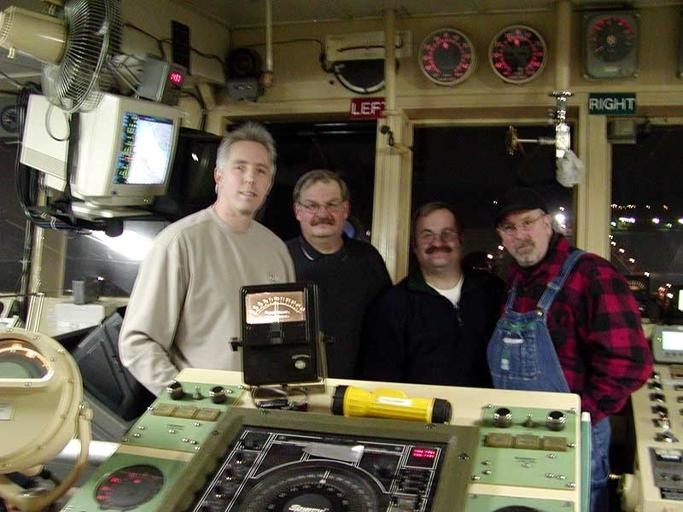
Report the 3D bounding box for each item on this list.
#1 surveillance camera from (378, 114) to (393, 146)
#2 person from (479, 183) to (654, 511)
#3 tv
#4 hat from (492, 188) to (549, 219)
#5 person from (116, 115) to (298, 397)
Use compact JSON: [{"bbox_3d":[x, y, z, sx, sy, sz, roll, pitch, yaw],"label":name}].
[{"bbox_3d":[0.319,-0.878,3.538,0.107,0.224,0.241,1,0,4],"label":"surveillance camera"},{"bbox_3d":[1.005,0.193,2.259,0.656,1.247,0.297,1,0,29],"label":"person"},{"bbox_3d":[-1.460,-0.589,3.101,0.811,0.652,0.761,16,0,13],"label":"tv"},{"bbox_3d":[0.904,-0.269,2.484,0.290,0.129,0.207,-1,-14,-36],"label":"hat"},{"bbox_3d":[-0.508,-0.053,2.110,0.426,1.119,0.703,1,0,29],"label":"person"}]
